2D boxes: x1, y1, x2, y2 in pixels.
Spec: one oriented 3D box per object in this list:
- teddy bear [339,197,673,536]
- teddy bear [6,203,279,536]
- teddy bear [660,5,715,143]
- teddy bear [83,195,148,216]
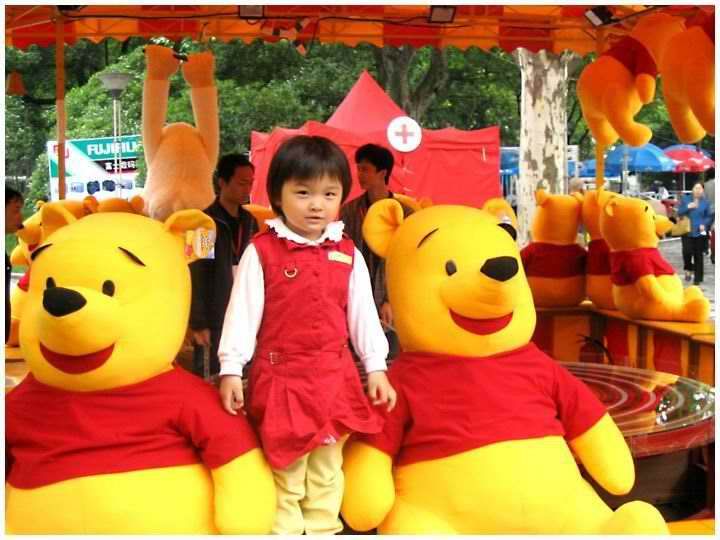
[{"bbox_3d":[0.419,0.374,3.437,1.270,1.616,1.306,-1,-3,-22],"label":"teddy bear"},{"bbox_3d":[-0.856,0.415,2.857,1.194,1.405,0.782,-2,-8,3],"label":"teddy bear"},{"bbox_3d":[1.546,-0.906,3.404,0.243,0.605,0.356,3,8,22],"label":"teddy bear"},{"bbox_3d":[-1.555,-0.407,4.625,0.441,0.164,0.329,-3,1,-28],"label":"teddy bear"}]
